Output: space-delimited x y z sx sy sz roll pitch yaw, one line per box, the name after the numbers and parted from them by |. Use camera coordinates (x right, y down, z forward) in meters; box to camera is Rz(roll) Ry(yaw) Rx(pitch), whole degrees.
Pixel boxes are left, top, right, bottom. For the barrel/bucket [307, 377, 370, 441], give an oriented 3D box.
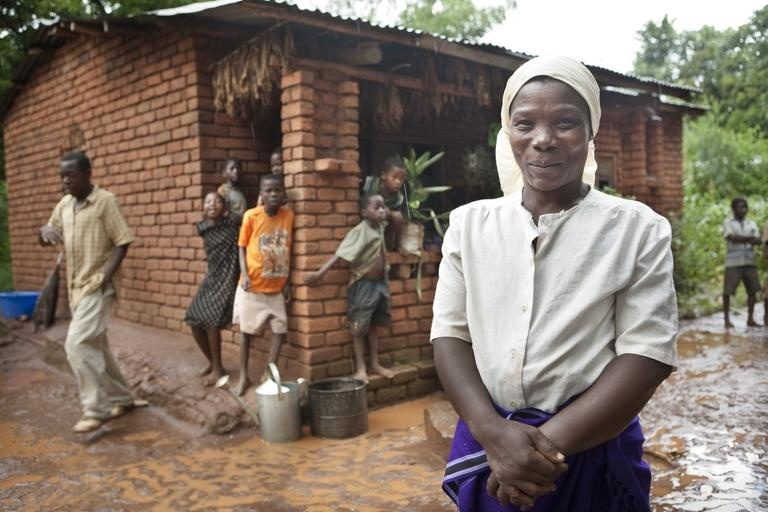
-0.583 1.891 9.021 0.808 0.589 0.751 -3 3 0 | barrel/bucket

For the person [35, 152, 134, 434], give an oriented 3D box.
-3.534 0.415 8.842 0.765 3.315 0.469 -1 -1 -24 | person

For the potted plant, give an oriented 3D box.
0.459 -0.843 9.902 0.890 1.138 0.788 6 7 4 | potted plant

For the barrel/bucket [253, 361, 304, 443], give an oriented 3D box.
-1.278 1.767 8.820 0.705 0.903 0.634 -7 9 -30 | barrel/bucket
